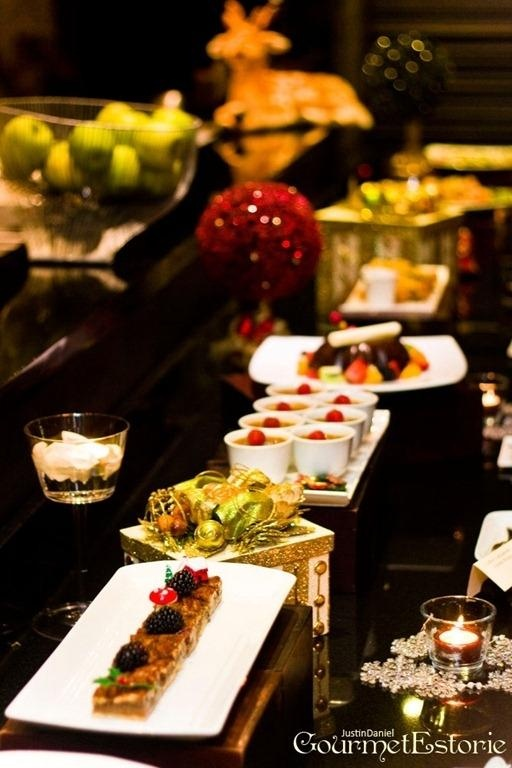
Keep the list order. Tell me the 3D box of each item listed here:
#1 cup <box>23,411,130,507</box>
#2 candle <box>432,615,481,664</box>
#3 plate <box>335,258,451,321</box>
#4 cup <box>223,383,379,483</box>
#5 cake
[{"bbox_3d":[-0.233,0.097,0.941,0.146,0.092,0.140,1,12,0],"label":"cup"},{"bbox_3d":[0.251,0.326,0.866,0.064,0.034,0.061,-3,5,-34],"label":"candle"},{"bbox_3d":[0.620,-0.404,2.983,0.505,0.291,0.620,3,17,12],"label":"plate"},{"bbox_3d":[0.073,0.092,1.298,0.181,0.081,0.265,0,9,13],"label":"cup"},{"bbox_3d":[-0.094,0.241,0.650,0.055,0.029,0.153,5,16,13],"label":"cake"}]
